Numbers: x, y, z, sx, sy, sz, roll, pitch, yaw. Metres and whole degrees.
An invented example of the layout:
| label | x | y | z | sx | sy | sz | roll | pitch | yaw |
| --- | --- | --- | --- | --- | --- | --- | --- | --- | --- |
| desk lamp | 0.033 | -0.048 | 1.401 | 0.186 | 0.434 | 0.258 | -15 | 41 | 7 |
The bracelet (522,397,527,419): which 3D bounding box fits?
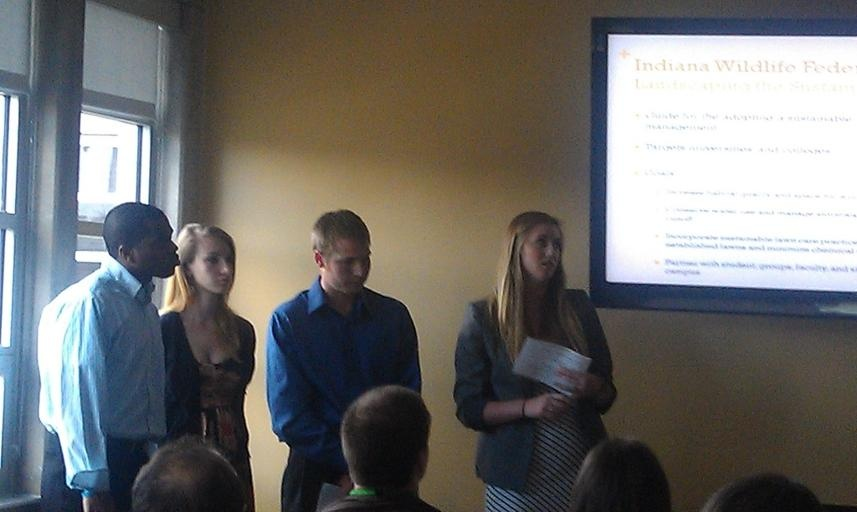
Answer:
| label | x | y | z | sx | sy | sz | roll | pitch | yaw |
| --- | --- | --- | --- | --- | --- | --- | --- | --- | --- |
| bracelet | 0.446 | 0.717 | 3.409 | 0.021 | 0.057 | 0.052 | 4 | 3 | 2 |
